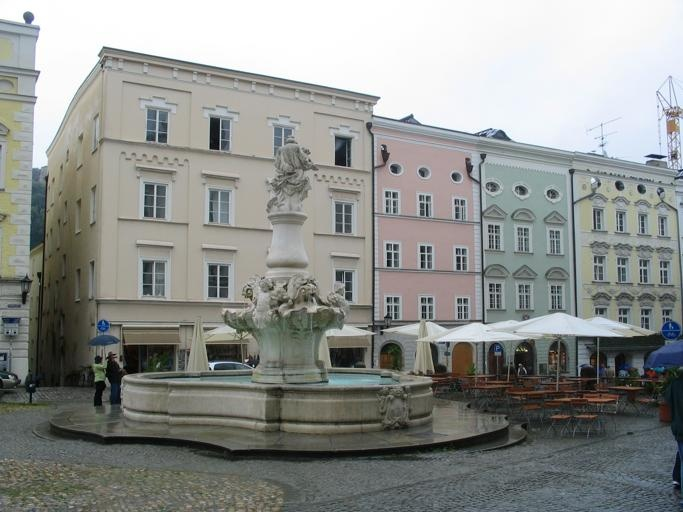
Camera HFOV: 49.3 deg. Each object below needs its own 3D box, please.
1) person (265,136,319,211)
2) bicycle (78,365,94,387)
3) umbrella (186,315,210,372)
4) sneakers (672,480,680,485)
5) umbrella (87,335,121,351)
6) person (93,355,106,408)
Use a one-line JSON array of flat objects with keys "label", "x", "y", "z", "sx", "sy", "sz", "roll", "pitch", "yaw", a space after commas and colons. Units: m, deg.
[{"label": "person", "x": -1.466, "y": -2.257, "z": 20.914, "sx": 1.216, "sy": 2.374, "sz": 0.786, "roll": 2, "pitch": -9, "yaw": -15}, {"label": "bicycle", "x": -12.217, "y": 5.748, "z": 35.664, "sx": 0.235, "sy": 0.919, "sz": 1.667, "roll": 5, "pitch": -11, "yaw": -32}, {"label": "umbrella", "x": -4.587, "y": 2.862, "z": 23.790, "sx": 0.612, "sy": 1.693, "sz": 1.912, "roll": 2, "pitch": -9, "yaw": -11}, {"label": "sneakers", "x": 6.290, "y": 4.251, "z": 13.960, "sx": 0.124, "sy": 0.071, "sz": 0.136, "roll": 2, "pitch": -8, "yaw": 17}, {"label": "umbrella", "x": -10.006, "y": 3.665, "z": 31.491, "sx": 1.198, "sy": 0.420, "sz": 1.206, "roll": -3, "pitch": -10, "yaw": 18}, {"label": "person", "x": -7.713, "y": 3.953, "z": 23.646, "sx": 0.380, "sy": 1.525, "sz": 2.148, "roll": 3, "pitch": -9, "yaw": -18}]
